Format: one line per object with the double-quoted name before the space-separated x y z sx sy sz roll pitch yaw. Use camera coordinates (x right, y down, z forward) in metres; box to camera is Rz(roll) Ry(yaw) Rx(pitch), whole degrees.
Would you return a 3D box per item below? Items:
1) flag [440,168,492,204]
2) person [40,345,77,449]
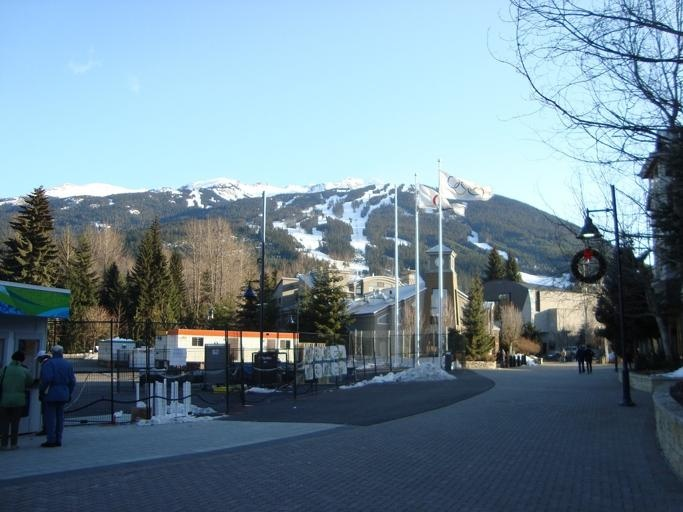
"flag" 7.472 -4.321 44.976 2.383 1.967 4.244 1 -4 -18
"person" -7.121 3.458 18.634 0.801 2.445 0.853 2 -3 -23
